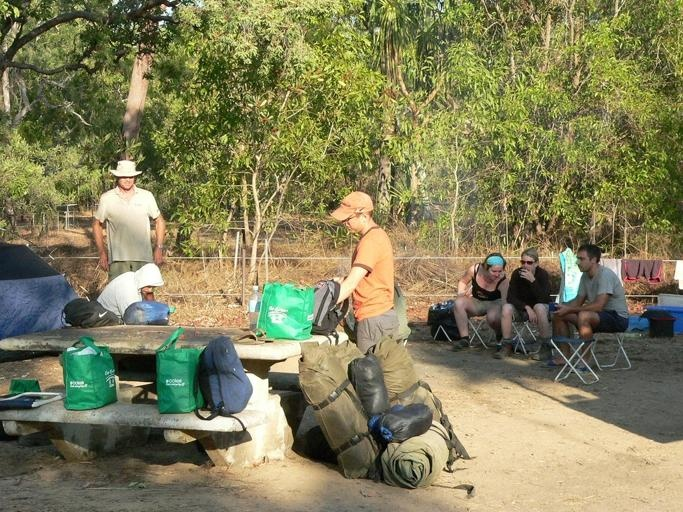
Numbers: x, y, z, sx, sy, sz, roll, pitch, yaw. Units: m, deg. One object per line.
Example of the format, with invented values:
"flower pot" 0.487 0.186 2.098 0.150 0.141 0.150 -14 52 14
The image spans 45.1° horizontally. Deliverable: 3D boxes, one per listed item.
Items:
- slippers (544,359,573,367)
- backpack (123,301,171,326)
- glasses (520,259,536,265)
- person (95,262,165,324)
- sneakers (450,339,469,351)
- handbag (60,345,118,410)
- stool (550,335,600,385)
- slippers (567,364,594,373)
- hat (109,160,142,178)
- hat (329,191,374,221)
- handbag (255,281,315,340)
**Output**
"slippers" 3.266 1.616 12.424 0.362 0.155 0.123 3 0 1
"backpack" -2.369 0.704 10.102 0.424 0.212 0.285 -1 8 -15
"glasses" 2.982 0.113 13.203 0.216 0.095 0.099 10 15 37
"person" -2.648 0.346 10.383 0.740 0.670 0.725 24 23 -23
"sneakers" 1.977 1.497 13.718 0.136 0.166 0.381 -1 -6 28
"handbag" -2.547 1.233 8.308 0.492 0.676 0.650 -3 -6 10
"stool" 3.410 1.549 12.100 0.743 0.887 0.685 -2 -4 33
"slippers" 3.538 1.670 12.091 0.287 0.100 0.121 4 -28 -39
"hat" -3.196 -1.262 12.229 0.620 0.240 0.645 -2 5 -7
"hat" 0.121 -0.562 9.262 0.441 0.232 0.284 -6 11 -6
"handbag" -0.547 0.604 8.761 0.649 0.686 0.475 7 1 10
